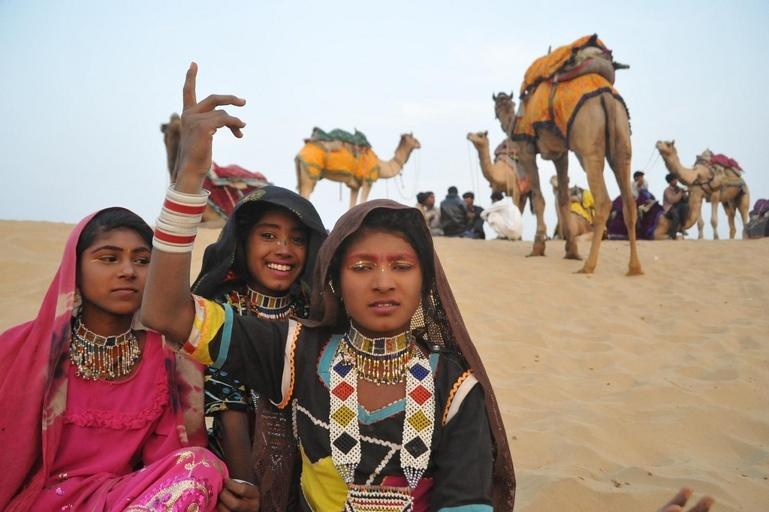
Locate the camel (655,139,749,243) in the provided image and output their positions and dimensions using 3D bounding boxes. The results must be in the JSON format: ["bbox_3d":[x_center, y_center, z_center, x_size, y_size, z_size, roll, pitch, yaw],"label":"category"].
[{"bbox_3d":[7.545,-1.366,17.284,2.804,2.166,0.911,5,-7,-26],"label":"camel"}]

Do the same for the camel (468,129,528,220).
[{"bbox_3d":[2.366,-1.577,14.899,1.164,2.288,2.022,8,28,13],"label":"camel"}]
